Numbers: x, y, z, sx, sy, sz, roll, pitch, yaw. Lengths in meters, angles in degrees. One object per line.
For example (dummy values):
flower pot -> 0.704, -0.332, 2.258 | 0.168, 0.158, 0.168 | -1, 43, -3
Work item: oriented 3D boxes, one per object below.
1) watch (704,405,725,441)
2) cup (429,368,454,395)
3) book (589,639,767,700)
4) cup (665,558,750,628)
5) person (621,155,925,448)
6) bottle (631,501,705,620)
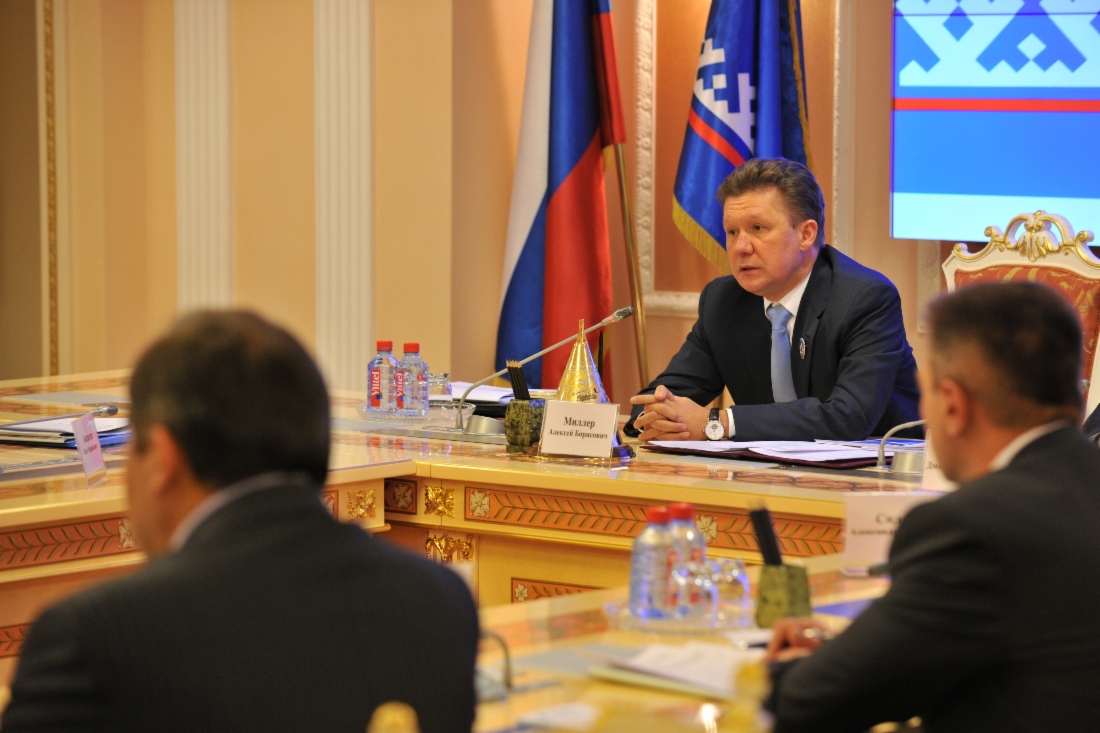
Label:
watch -> 0.538, 0.191, 3.101 | 0.063, 0.101, 0.096 | 0, 10, 1
cup -> -0.491, 0.065, 4.154 | 0.113, 0.112, 0.207 | -3, 0, 0
book -> 0.215, 0.470, 1.516 | 0.251, 0.036, 0.209 | 2, 9, 21
cup -> 0.305, 0.417, 1.740 | 0.123, 0.090, 0.120 | -2, -10, 0
person -> 0.791, -0.182, 3.476 | 1.150, 0.901, 0.902 | 4, -5, -42
bottle -> 0.220, 0.359, 1.726 | 0.161, 0.179, 0.116 | -4, 9, -14
